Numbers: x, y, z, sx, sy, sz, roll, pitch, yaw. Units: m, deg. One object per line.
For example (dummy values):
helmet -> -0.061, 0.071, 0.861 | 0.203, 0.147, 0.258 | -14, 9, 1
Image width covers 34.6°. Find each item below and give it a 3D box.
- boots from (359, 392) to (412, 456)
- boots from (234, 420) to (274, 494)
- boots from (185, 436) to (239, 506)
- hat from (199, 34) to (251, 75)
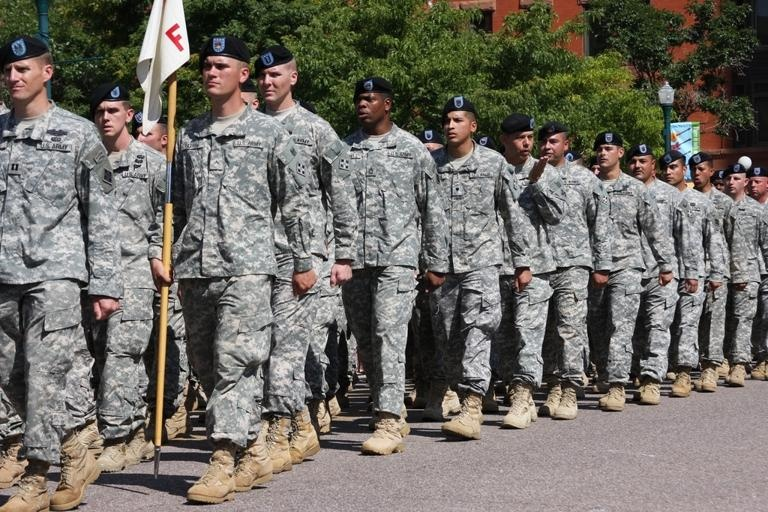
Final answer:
boots -> 0.010, 1.678, 11.815 | 0.268, 0.288, 0.682 | 1, 2, 24
boots -> -1.210, 1.715, 10.443 | 0.251, 0.473, 0.580 | 2, 5, 38
boots -> -1.416, 1.752, 10.075 | 0.212, 0.494, 0.403 | 1, 5, 37
hat -> -1.373, -1.751, 10.522 | 0.415, 0.271, 0.267 | -2, 4, -6
